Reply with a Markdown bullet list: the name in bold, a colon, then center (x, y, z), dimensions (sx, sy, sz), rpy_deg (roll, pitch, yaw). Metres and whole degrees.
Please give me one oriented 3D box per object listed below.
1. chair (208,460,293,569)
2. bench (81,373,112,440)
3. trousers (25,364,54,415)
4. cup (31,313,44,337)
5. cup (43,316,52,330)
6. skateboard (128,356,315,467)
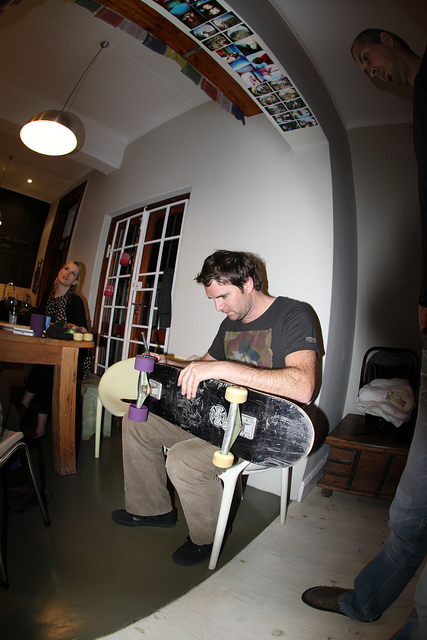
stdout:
- **chair**: center (0.138, 0.610, 1.385), dimensions (0.210, 0.279, 0.390), rpy_deg (8, 3, 15)
- **bench**: center (-0.627, 0.492, 2.160), dimensions (0.186, 0.219, 0.511), rpy_deg (6, 3, -17)
- **trousers**: center (-0.898, 0.345, 2.088), dimensions (0.101, 0.236, 0.218), rpy_deg (5, 4, -33)
- **cup**: center (-0.760, 0.021, 1.735), dimensions (0.051, 0.092, 0.060), rpy_deg (6, 3, -23)
- **cup**: center (-0.746, 0.015, 1.803), dimensions (0.030, 0.052, 0.050), rpy_deg (16, -1, -6)
- **skateboard**: center (-0.040, 0.251, 1.290), dimensions (0.727, 0.290, 0.108), rpy_deg (14, 14, 42)
